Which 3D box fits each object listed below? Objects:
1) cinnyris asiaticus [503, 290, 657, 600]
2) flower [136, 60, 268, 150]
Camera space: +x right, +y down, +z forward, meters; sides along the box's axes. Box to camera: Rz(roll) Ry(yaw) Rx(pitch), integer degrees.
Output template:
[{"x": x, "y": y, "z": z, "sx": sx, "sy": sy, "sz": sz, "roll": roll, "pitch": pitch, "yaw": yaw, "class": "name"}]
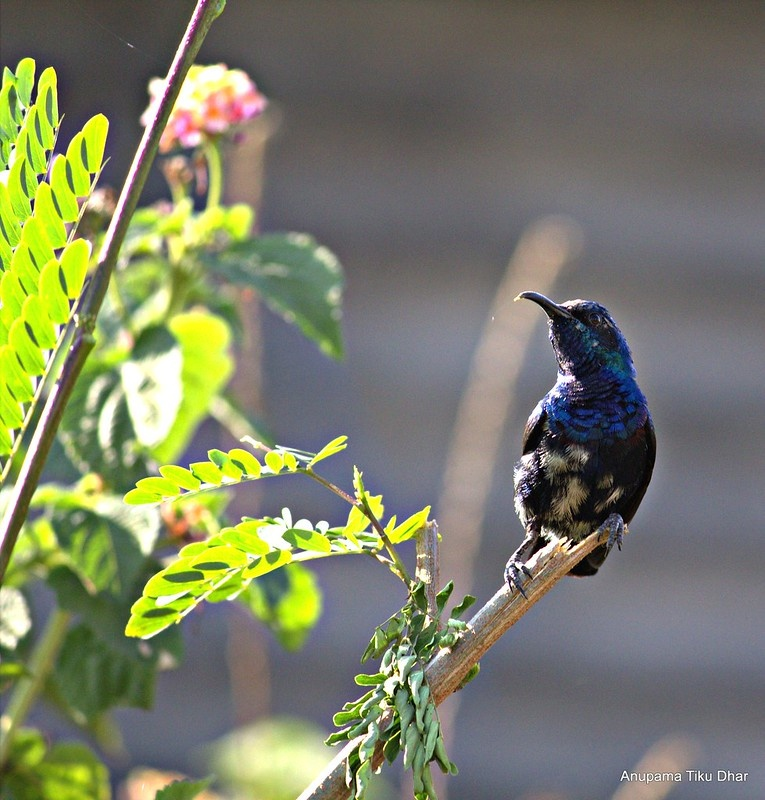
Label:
[{"x": 0.310, "y": 0.058, "z": 2.343, "sx": 0.244, "sy": 0.468, "sz": 0.291, "roll": 12, "pitch": 0, "yaw": 10, "class": "cinnyris asiaticus"}, {"x": -0.332, "y": -0.499, "z": 2.561, "sx": 0.233, "sy": 0.095, "sz": 0.236, "roll": 18, "pitch": 21, "yaw": -20, "class": "flower"}]
